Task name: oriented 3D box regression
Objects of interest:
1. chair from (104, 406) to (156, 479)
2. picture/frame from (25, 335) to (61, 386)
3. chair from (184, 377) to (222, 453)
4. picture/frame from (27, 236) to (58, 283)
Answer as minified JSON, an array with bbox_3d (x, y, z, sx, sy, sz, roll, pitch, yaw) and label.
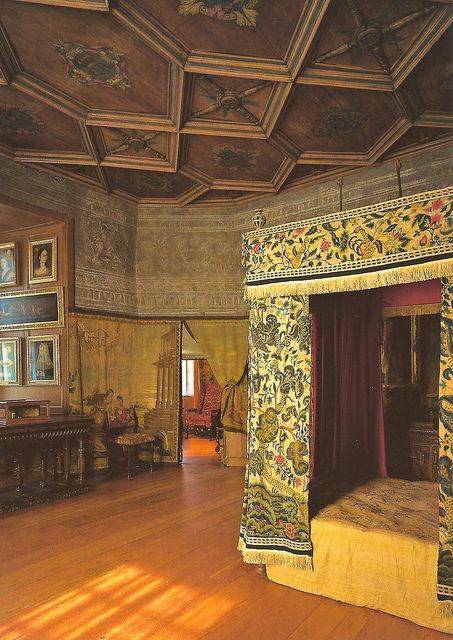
[{"bbox_3d":[-1.428,1.866,8.029,0.507,0.864,0.633,-2,-4,34],"label":"chair"},{"bbox_3d":[-2.631,0.582,7.570,0.581,0.707,0.043,-3,-4,22],"label":"picture/frame"},{"bbox_3d":[-0.399,1.930,11.566,0.744,1.212,0.680,4,-2,34],"label":"chair"},{"bbox_3d":[-2.666,-0.878,7.698,0.728,0.813,0.066,-2,-4,30],"label":"picture/frame"}]
